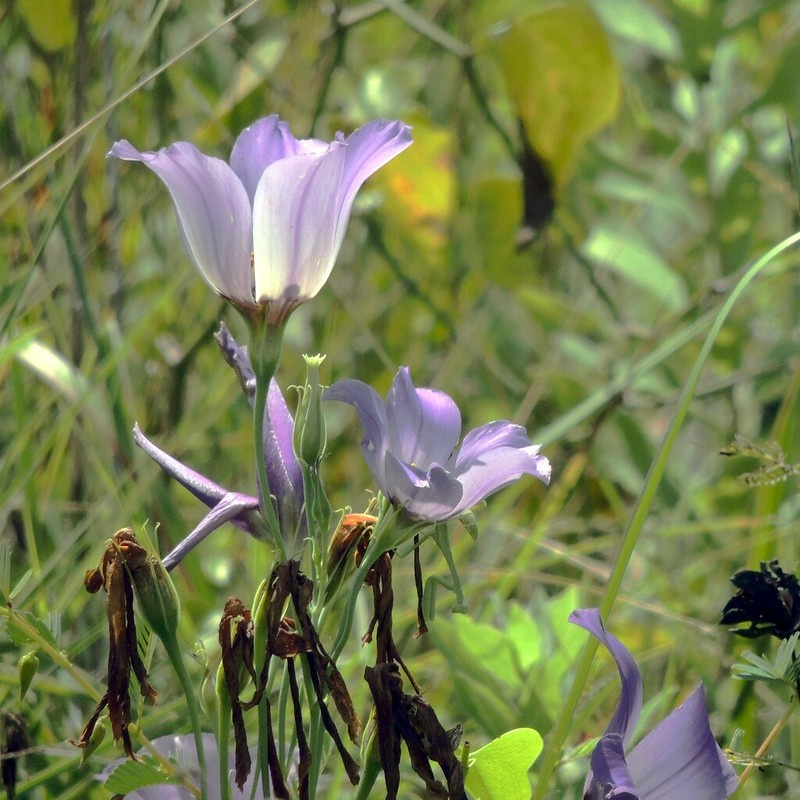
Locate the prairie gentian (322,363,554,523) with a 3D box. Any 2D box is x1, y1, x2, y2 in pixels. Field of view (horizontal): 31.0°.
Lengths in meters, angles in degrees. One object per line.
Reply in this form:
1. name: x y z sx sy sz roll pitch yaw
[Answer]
1. prairie gentian: 0.023 0.034 0.998 0.111 0.064 0.120 28 15 -2
